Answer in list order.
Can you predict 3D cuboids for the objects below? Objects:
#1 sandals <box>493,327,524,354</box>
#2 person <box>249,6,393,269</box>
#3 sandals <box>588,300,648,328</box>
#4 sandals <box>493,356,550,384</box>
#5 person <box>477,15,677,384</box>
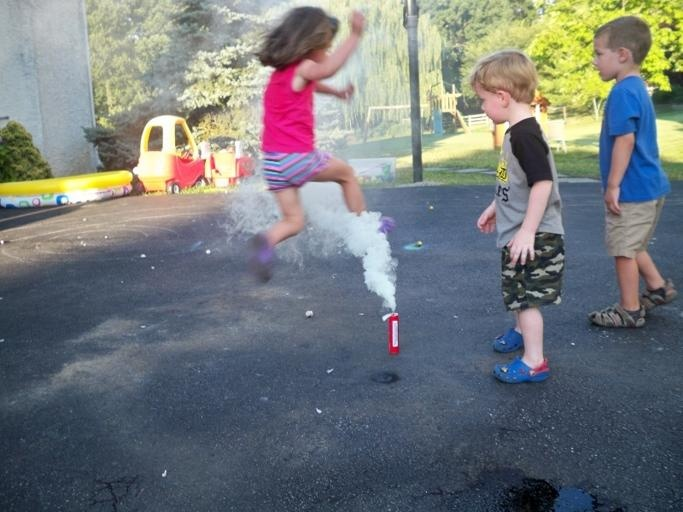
[{"bbox_3d":[1.037,0.509,3.284,0.192,0.086,0.108,-13,29,-40],"label":"sandals"},{"bbox_3d":[-0.231,-0.751,3.606,0.816,1.768,0.406,-2,13,4],"label":"person"},{"bbox_3d":[1.847,0.369,3.544,0.287,0.135,0.168,4,4,19],"label":"sandals"},{"bbox_3d":[0.998,0.635,2.957,0.234,0.107,0.136,1,2,-1],"label":"sandals"},{"bbox_3d":[1.406,-0.443,3.222,1.563,2.011,0.514,-12,16,-34],"label":"person"}]
